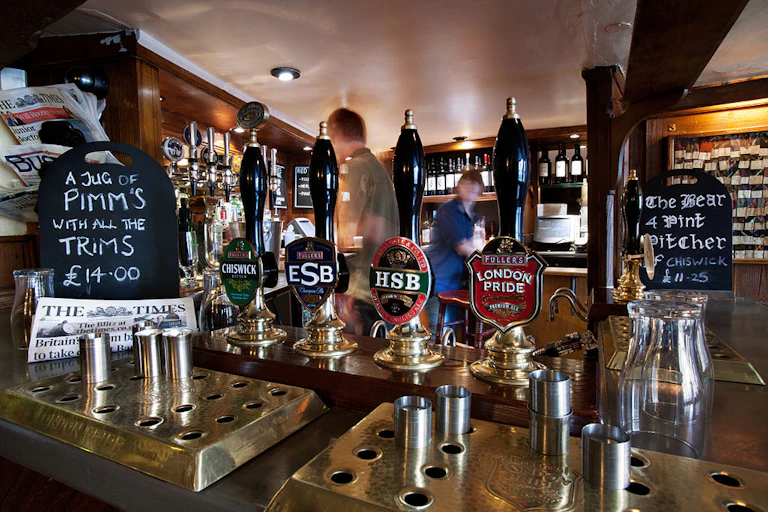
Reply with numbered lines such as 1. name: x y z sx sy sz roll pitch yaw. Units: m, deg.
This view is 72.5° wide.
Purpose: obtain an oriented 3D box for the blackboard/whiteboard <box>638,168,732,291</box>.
1. blackboard/whiteboard: 1.260 -0.101 2.204 0.341 0.509 0.273 -1 2 29

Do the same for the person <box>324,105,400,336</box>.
1. person: -0.118 -0.240 3.348 0.400 1.478 0.490 -2 1 -6

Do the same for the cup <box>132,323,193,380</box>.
1. cup: -0.599 0.268 1.435 0.215 0.143 0.123 1 7 3

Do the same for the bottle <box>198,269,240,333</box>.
1. bottle: -0.576 0.149 1.797 0.130 0.139 0.136 -2 1 0

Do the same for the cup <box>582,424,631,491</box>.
1. cup: 0.448 0.414 1.121 0.121 0.121 0.112 0 -2 0

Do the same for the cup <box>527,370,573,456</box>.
1. cup: 0.394 0.341 1.181 0.159 0.173 0.081 -3 2 -38

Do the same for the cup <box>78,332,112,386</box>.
1. cup: -0.804 0.280 1.470 0.071 0.111 0.125 -3 2 -28

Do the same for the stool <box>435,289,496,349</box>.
1. stool: 0.628 0.503 4.048 0.398 0.479 0.999 -1 1 11

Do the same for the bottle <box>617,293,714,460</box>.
1. bottle: 0.629 0.270 1.186 0.186 0.331 0.091 -1 2 20

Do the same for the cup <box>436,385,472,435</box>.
1. cup: 0.159 0.358 1.245 0.102 0.103 0.096 -1 2 0

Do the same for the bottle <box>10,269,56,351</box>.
1. bottle: -1.159 0.178 1.757 0.110 0.242 0.234 -3 2 -45

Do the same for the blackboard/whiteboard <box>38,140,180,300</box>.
1. blackboard/whiteboard: -0.956 -0.121 1.833 0.441 0.433 0.100 -2 1 -1

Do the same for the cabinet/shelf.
1. cabinet/shelf: 1.072 -0.498 4.341 1.759 1.408 0.614 0 -2 23

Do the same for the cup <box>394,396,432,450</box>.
1. cup: 0.065 0.374 1.200 0.108 0.094 0.097 0 -3 1
